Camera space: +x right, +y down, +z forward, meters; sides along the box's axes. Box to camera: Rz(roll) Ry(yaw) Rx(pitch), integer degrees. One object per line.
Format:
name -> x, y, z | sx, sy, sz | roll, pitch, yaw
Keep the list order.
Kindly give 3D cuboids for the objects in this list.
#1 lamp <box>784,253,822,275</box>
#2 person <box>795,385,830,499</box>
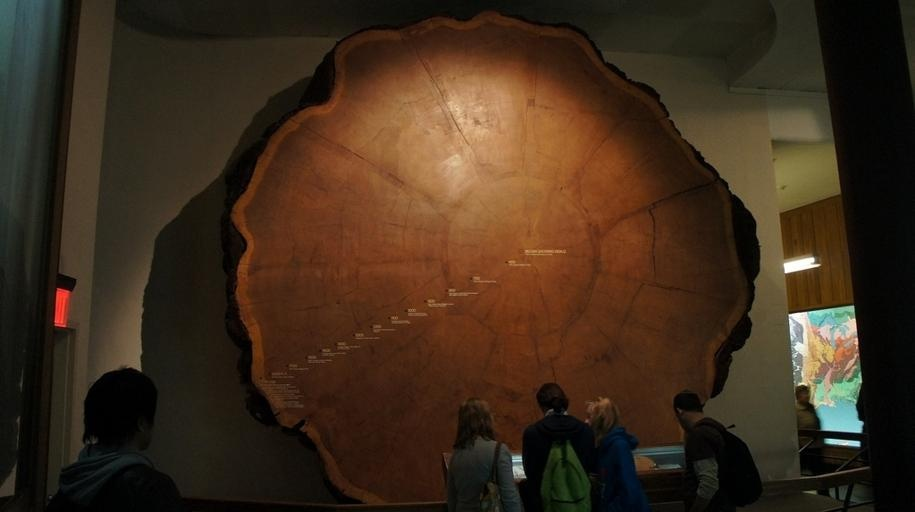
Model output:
lamp -> 4.241, 0.059, 8.491 | 0.362, 0.274, 0.957 | -11, -13, 28
person -> 3.627, 1.870, 7.220 | 0.307, 1.029, 0.295 | -20, 19, -35
